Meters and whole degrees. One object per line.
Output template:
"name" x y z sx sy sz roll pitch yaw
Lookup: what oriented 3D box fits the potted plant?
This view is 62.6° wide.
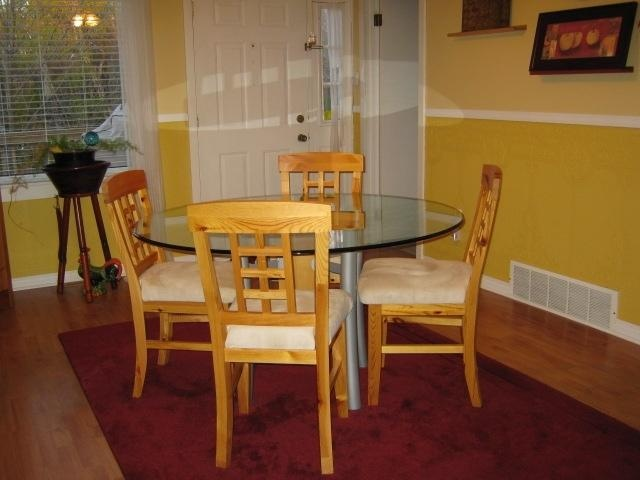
"potted plant" -2.028 -0.633 4.280 0.783 0.469 0.701 4 16 18

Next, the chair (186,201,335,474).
"chair" -0.191 0.361 2.317 0.603 1.169 0.502 1 16 9
